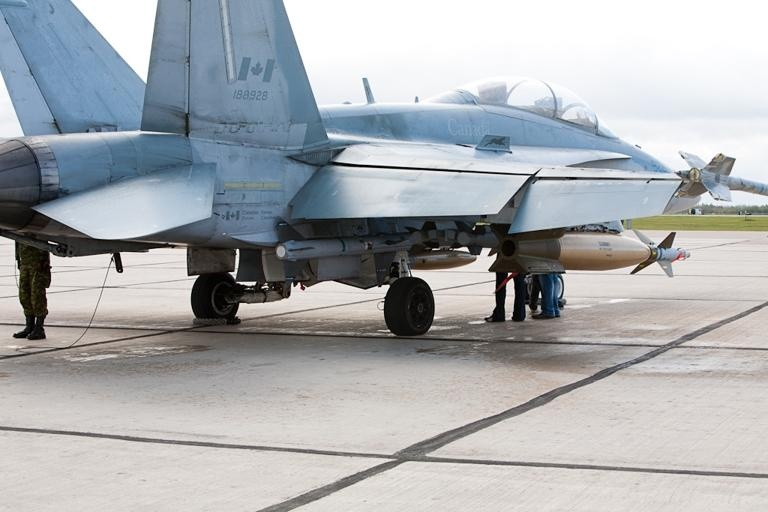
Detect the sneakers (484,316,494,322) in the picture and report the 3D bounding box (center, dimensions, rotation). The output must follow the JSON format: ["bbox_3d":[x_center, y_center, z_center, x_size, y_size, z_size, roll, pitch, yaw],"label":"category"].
[{"bbox_3d":[1.887,1.131,12.829,0.253,0.053,0.218,0,1,4],"label":"sneakers"}]
